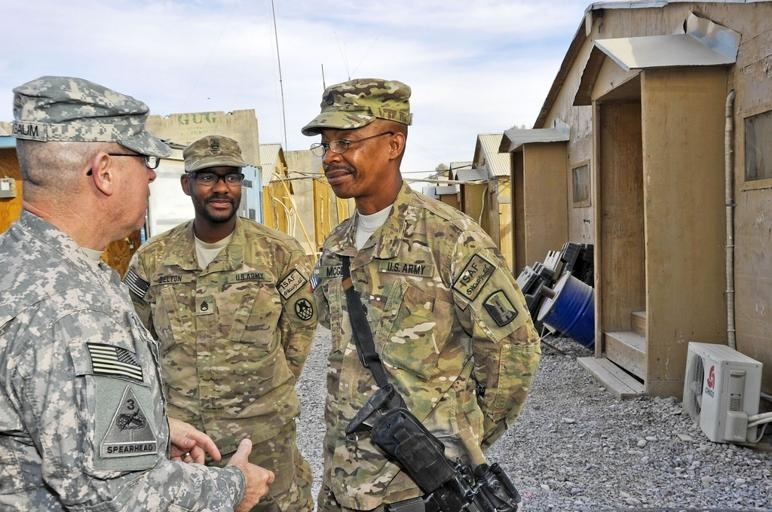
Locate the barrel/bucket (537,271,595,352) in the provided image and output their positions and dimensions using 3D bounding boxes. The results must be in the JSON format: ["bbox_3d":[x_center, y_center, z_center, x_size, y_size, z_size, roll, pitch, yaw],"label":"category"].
[{"bbox_3d":[2.260,0.703,9.018,0.636,0.911,0.376,-5,10,12],"label":"barrel/bucket"}]
